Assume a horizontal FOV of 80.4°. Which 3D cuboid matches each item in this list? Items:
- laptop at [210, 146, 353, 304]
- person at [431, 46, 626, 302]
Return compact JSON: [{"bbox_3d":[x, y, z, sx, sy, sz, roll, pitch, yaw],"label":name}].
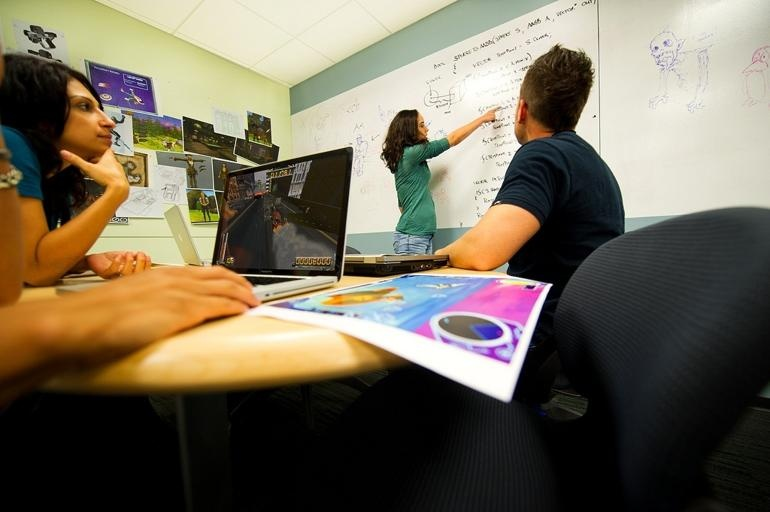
[{"bbox_3d":[-0.306,-0.113,1.728,0.604,0.401,0.497,1,12,24],"label":"laptop"},{"bbox_3d":[0.660,-0.267,2.063,0.654,1.183,0.981,-2,-2,42],"label":"person"}]
